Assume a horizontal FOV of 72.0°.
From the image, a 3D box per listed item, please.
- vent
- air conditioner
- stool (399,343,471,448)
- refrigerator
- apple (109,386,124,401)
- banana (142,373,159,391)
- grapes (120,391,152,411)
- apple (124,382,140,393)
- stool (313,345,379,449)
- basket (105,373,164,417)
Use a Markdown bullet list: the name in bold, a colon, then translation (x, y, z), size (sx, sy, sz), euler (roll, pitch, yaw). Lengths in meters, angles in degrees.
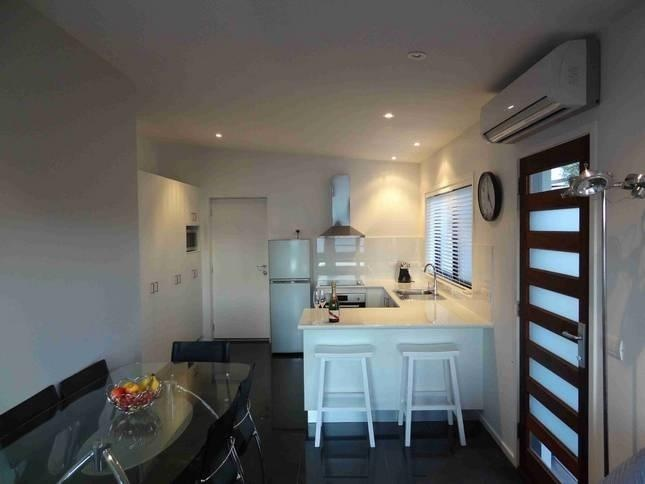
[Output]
- **vent**: translation (0.305, -0.497, 6.545), size (0.762, 0.924, 0.736), euler (2, -4, -38)
- **air conditioner**: translation (1.495, -1.001, 3.275), size (0.229, 0.442, 1.080), euler (-8, -2, -8)
- **stool**: translation (1.006, 1.394, 4.118), size (0.573, 0.830, 0.624), euler (-2, 0, 22)
- **refrigerator**: translation (-0.435, 0.771, 6.230), size (0.604, 1.582, 0.331), euler (-1, 9, -7)
- **apple**: translation (-1.352, 1.003, 2.954), size (0.068, 0.054, 0.089), euler (3, 4, 3)
- **banana**: translation (-1.182, 0.974, 3.087), size (0.125, 0.177, 0.045), euler (-1, -17, -13)
- **grapes**: translation (-1.235, 1.035, 2.932), size (0.125, 0.064, 0.129), euler (1, -1, 24)
- **apple**: translation (-1.281, 0.980, 2.989), size (0.064, 0.073, 0.063), euler (-3, -7, 41)
- **stool**: translation (0.207, 1.388, 4.066), size (0.563, 0.804, 0.457), euler (0, 9, 1)
- **basket**: translation (-1.254, 1.025, 3.062), size (0.244, 0.158, 0.294), euler (-1, -3, -6)
